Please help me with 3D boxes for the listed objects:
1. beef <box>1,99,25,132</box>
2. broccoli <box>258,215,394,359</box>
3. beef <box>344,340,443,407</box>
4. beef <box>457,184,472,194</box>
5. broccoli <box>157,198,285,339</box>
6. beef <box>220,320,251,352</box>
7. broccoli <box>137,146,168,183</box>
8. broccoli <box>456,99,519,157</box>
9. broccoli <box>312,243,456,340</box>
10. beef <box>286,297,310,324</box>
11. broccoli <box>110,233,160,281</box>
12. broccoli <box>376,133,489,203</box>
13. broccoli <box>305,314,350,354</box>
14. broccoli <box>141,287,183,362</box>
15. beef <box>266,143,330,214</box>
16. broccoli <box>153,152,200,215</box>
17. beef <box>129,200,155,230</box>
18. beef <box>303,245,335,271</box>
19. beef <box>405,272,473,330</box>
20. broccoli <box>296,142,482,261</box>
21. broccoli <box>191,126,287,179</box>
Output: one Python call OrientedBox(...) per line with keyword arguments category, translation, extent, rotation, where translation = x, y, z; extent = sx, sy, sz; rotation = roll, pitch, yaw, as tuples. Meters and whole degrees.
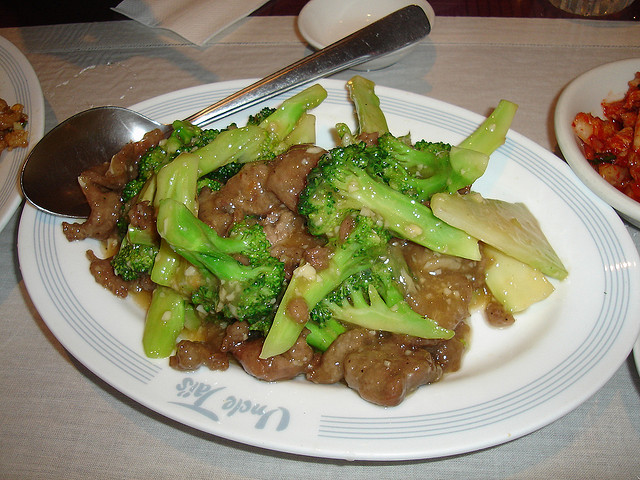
OrientedBox(category="beef", translation=(-1.993, -0.829, 3.399), extent=(0.153, 0.051, 0.201), rotation=(26, 53, -23))
OrientedBox(category="broccoli", translation=(-0.064, 0.210, 2.891), extent=(0.786, 0.485, 0.683), rotation=(-15, 120, -31))
OrientedBox(category="beef", translation=(0.370, 0.622, 2.702), extent=(0.363, 0.328, 0.284), rotation=(13, 110, 40))
OrientedBox(category="beef", translation=(0.837, -0.287, 3.036), extent=(0.060, 0.082, 0.023), rotation=(-25, 79, -10))
OrientedBox(category="broccoli", translation=(-0.463, 0.148, 2.667), extent=(0.526, 0.488, 0.718), rotation=(-16, 70, 0))
OrientedBox(category="beef", translation=(-0.449, 0.499, 2.775), extent=(0.173, 0.057, 0.121), rotation=(-39, 79, 3))
OrientedBox(category="broccoli", translation=(-0.985, -0.432, 3.167), extent=(0.225, 0.058, 0.148), rotation=(-50, 57, 4))
OrientedBox(category="broccoli", translation=(1.071, -0.651, 3.264), extent=(0.591, 0.081, 0.176), rotation=(-43, 67, -15))
OrientedBox(category="broccoli", translation=(0.353, 0.206, 2.987), extent=(1.039, 0.968, 0.289), rotation=(-6, 107, -9))
OrientedBox(category="beef", translation=(-0.111, 0.346, 2.626), extent=(0.108, 0.094, 0.131), rotation=(-28, 71, -4))
OrientedBox(category="broccoli", translation=(-1.046, 0.120, 2.973), extent=(0.289, 0.139, 0.206), rotation=(4, 72, 7))
OrientedBox(category="broccoli", translation=(0.575, -0.386, 2.954), extent=(0.466, 0.182, 0.436), rotation=(-24, 38, 3))
OrientedBox(category="broccoli", translation=(0.024, 0.512, 2.971), extent=(0.182, 0.280, 0.207), rotation=(-7, 106, -30))
OrientedBox(category="broccoli", translation=(-0.839, 0.439, 2.816), extent=(0.207, 0.094, 0.406), rotation=(12, 61, -12))
OrientedBox(category="beef", translation=(-0.129, -0.350, 2.974), extent=(0.337, 0.121, 0.369), rotation=(26, 96, 12))
OrientedBox(category="broccoli", translation=(-0.760, -0.322, 2.871), extent=(0.163, 0.224, 0.309), rotation=(-12, 109, -20))
OrientedBox(category="beef", translation=(-0.968, -0.137, 2.858), extent=(0.145, 0.077, 0.139), rotation=(-20, 71, -1))
OrientedBox(category="beef", translation=(0.001, 0.093, 2.707), extent=(0.152, 0.061, 0.120), rotation=(-20, 71, -1))
OrientedBox(category="beef", translation=(0.678, 0.285, 2.982), extent=(0.372, 0.343, 0.293), rotation=(3, 103, 16))
OrientedBox(category="broccoli", translation=(0.340, -0.080, 2.933), extent=(0.870, 0.371, 0.586), rotation=(27, 78, 5))
OrientedBox(category="broccoli", translation=(-0.484, -0.536, 3.139), extent=(0.683, 0.186, 0.233), rotation=(-18, 97, -4))
